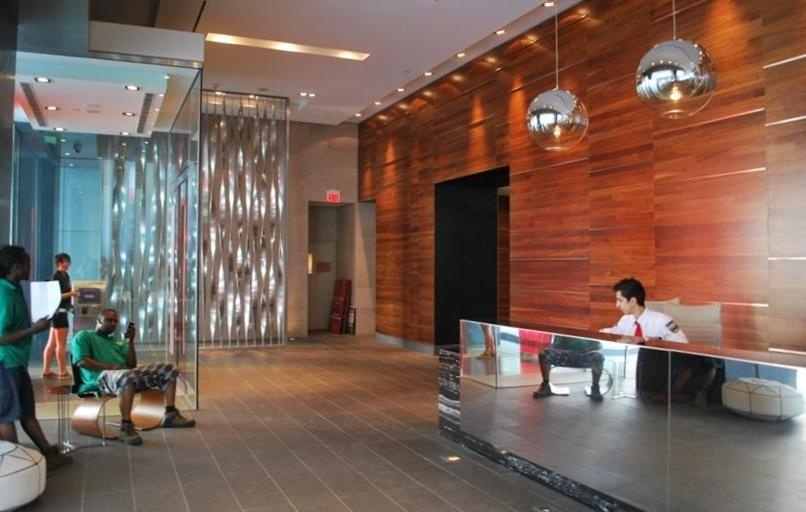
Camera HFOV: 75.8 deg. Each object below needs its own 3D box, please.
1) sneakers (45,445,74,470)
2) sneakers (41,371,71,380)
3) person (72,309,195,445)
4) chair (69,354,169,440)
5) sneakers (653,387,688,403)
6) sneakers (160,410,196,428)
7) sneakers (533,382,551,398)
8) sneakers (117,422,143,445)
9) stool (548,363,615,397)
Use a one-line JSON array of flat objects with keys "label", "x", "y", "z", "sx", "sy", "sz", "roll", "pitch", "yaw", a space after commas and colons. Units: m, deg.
[{"label": "sneakers", "x": -3.412, "y": 2.025, "z": 5.192, "sx": 0.296, "sy": 0.154, "sz": 0.112, "roll": 4, "pitch": -2, "yaw": -43}, {"label": "sneakers", "x": -4.469, "y": 1.559, "z": 6.700, "sx": 0.334, "sy": 0.115, "sz": 0.117, "roll": 1, "pitch": -2, "yaw": -20}, {"label": "person", "x": -3.240, "y": 1.357, "z": 6.023, "sx": 1.254, "sy": 1.270, "sz": 0.987, "roll": 4, "pitch": -6, "yaw": 5}, {"label": "chair", "x": -3.420, "y": 1.513, "z": 6.299, "sx": 0.858, "sy": 1.099, "sz": 1.268, "roll": -4, "pitch": -7, "yaw": 33}, {"label": "sneakers", "x": 2.010, "y": 1.056, "z": 3.895, "sx": 0.217, "sy": 0.094, "sz": 0.080, "roll": 1, "pitch": -4, "yaw": 38}, {"label": "sneakers", "x": -2.716, "y": 1.986, "z": 6.277, "sx": 0.514, "sy": 0.201, "sz": 0.157, "roll": 1, "pitch": -2, "yaw": -9}, {"label": "sneakers", "x": 1.259, "y": 1.237, "z": 4.704, "sx": 0.093, "sy": 0.091, "sz": 0.161, "roll": 2, "pitch": -3, "yaw": -36}, {"label": "sneakers", "x": -3.019, "y": 1.965, "z": 5.739, "sx": 0.285, "sy": 0.249, "sz": 0.144, "roll": 1, "pitch": 2, "yaw": 41}, {"label": "stool", "x": 1.517, "y": 1.081, "z": 4.453, "sx": 0.382, "sy": 0.130, "sz": 0.288, "roll": 0, "pitch": 1, "yaw": 8}]
